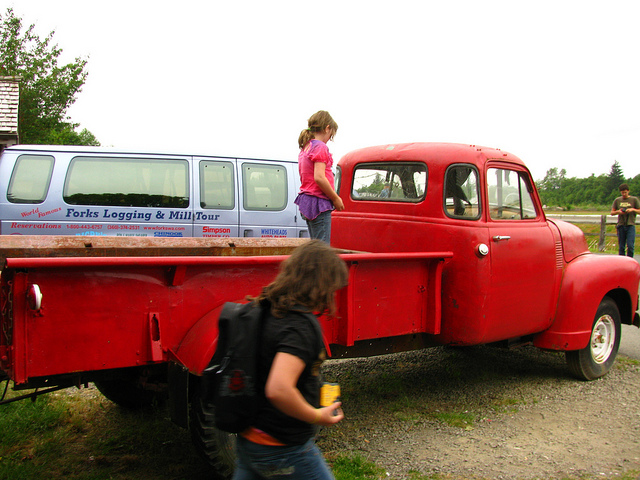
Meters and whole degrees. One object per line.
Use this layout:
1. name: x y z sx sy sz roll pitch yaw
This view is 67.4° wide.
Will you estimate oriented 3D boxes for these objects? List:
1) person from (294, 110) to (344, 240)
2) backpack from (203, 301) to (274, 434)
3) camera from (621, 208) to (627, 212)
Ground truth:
1. person: -0.004 -0.640 4.742 0.401 1.256 0.468 -1 6 -15
2. backpack: -0.327 0.592 2.364 0.329 0.607 0.404 -1 1 14
3. camera: 7.657 -0.766 12.120 0.029 0.096 0.109 -3 7 -30
